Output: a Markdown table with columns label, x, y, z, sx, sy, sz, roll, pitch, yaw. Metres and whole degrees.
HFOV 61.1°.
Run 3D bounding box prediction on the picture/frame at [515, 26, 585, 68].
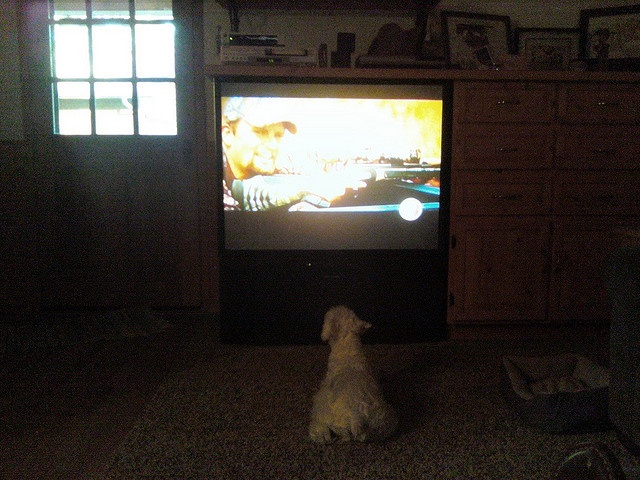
| label | x | y | z | sx | sy | sz | roll | pitch | yaw |
| --- | --- | --- | --- | --- | --- | --- | --- | --- | --- |
| picture/frame | 1.431 | -1.213 | 3.383 | 0.377 | 0.253 | 0.030 | 2 | 1 | -5 |

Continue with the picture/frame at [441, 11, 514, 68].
| label | x | y | z | sx | sy | sz | roll | pitch | yaw |
| --- | --- | --- | --- | --- | --- | --- | --- | --- | --- |
| picture/frame | 0.934 | -1.207 | 3.276 | 0.440 | 0.355 | 0.033 | 4 | -16 | -19 |

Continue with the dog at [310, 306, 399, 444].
| label | x | y | z | sx | sy | sz | roll | pitch | yaw |
| --- | --- | --- | --- | --- | --- | --- | --- | --- | --- |
| dog | 0.134 | 0.623 | 2.578 | 0.381 | 0.238 | 0.803 | 3 | 25 | -3 |
